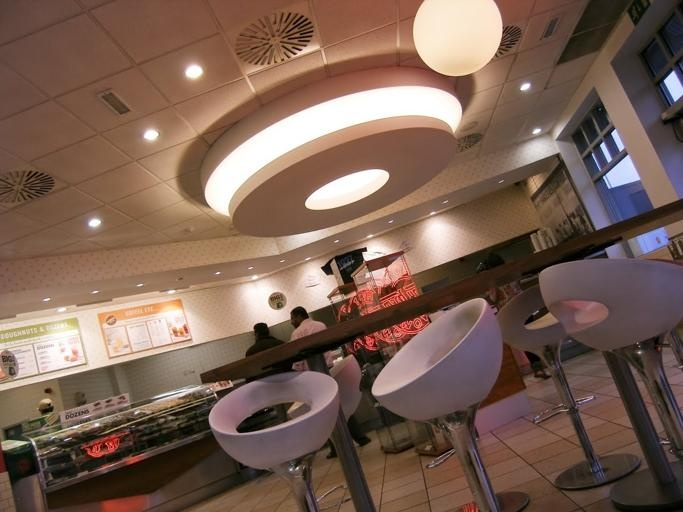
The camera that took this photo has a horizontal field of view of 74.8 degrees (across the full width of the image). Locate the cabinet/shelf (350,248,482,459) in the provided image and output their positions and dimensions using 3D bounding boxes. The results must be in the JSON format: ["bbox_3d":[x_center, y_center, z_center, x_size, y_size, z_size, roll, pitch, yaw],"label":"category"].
[{"bbox_3d":[0.849,1.064,5.078,0.669,2.133,0.630,4,-18,-19],"label":"cabinet/shelf"}]

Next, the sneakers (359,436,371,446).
[{"bbox_3d":[0.297,2.324,5.609,0.114,0.088,0.113,-5,-4,9],"label":"sneakers"}]

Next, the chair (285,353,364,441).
[{"bbox_3d":[-0.090,0.886,2.904,0.442,0.539,0.403,-3,-11,6],"label":"chair"}]

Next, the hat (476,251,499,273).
[{"bbox_3d":[2.045,0.066,6.330,0.228,0.403,0.385,-6,13,12],"label":"hat"}]

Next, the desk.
[{"bbox_3d":[0.673,0.782,4.088,3.495,1.736,1.864,-32,-11,-21],"label":"desk"}]
